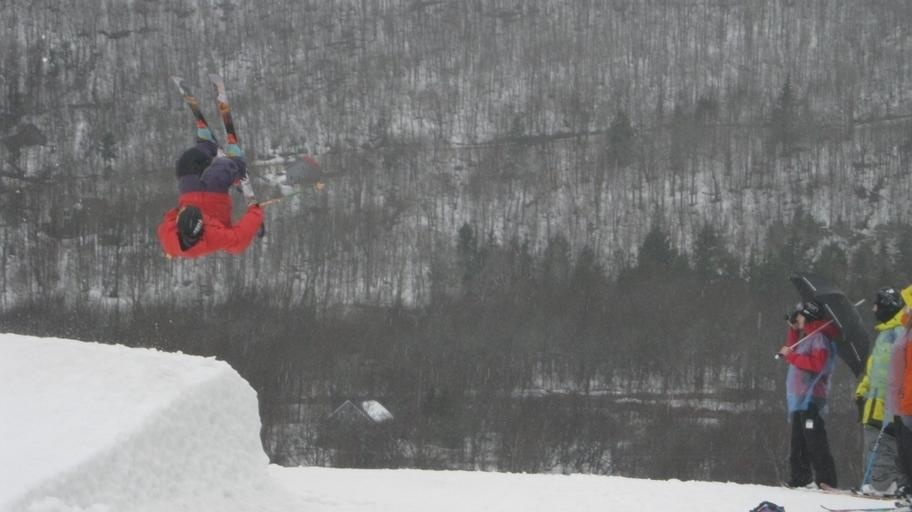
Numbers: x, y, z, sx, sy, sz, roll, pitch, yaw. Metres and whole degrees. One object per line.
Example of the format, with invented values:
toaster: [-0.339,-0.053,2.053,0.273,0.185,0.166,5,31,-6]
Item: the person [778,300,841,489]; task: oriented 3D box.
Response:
person: [7.836,3.009,39.200,1.372,4.027,1.115,-1,-1,-9]
